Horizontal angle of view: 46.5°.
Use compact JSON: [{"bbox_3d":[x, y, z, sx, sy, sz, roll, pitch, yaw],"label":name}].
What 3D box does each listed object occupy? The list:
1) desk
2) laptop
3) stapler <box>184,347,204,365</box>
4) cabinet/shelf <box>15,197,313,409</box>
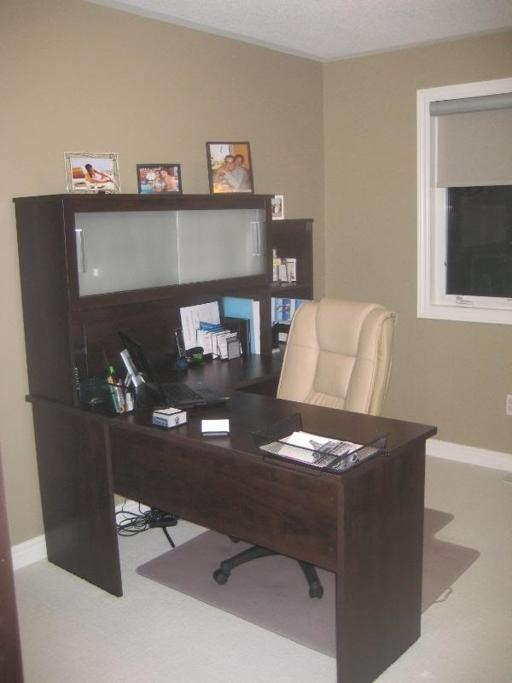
[{"bbox_3d":[-0.142,0.665,2.380,1.517,0.901,0.582,4,11,36],"label":"desk"},{"bbox_3d":[-0.368,0.107,2.551,0.434,0.261,0.458,-9,10,-36],"label":"laptop"},{"bbox_3d":[-0.353,0.082,3.384,0.090,0.099,0.096,-1,12,9],"label":"stapler"},{"bbox_3d":[-0.347,-0.273,3.192,1.650,0.906,0.425,-12,14,-43],"label":"cabinet/shelf"}]
